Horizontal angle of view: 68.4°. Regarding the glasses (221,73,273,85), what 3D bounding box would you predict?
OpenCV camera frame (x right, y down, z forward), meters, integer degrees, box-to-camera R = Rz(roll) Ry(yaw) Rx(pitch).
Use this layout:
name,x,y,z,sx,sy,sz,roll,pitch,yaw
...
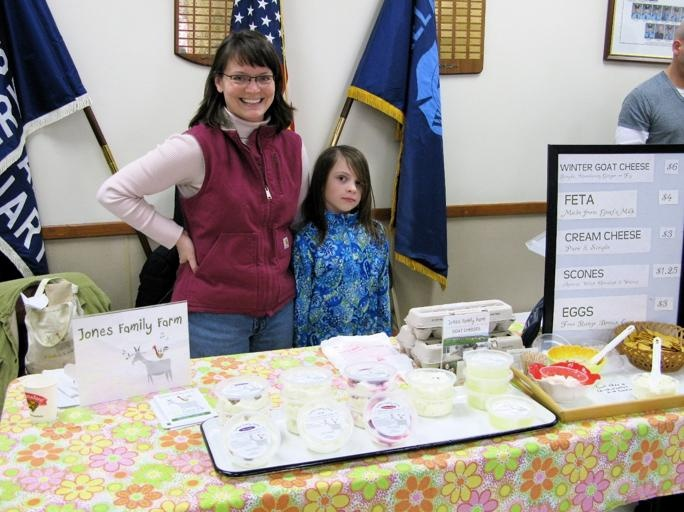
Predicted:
name,x,y,z,sx,sy,sz,roll,pitch,yaw
glasses,-0.366,-0.701,1.988,0.185,0.052,0.059,-9,18,-15

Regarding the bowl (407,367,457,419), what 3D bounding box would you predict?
name,x,y,z,sx,sy,sz,roll,pitch,yaw
bowl,0.233,0.347,1.320,0.108,0.080,0.113,-1,16,0

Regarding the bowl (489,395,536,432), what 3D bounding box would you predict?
name,x,y,z,sx,sy,sz,roll,pitch,yaw
bowl,0.431,0.412,1.287,0.118,0.044,0.114,2,-3,0

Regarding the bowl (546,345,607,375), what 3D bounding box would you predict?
name,x,y,z,sx,sy,sz,roll,pitch,yaw
bowl,0.694,0.292,1.499,0.100,0.038,0.104,-4,17,1

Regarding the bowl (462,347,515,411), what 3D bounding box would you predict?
name,x,y,z,sx,sy,sz,roll,pitch,yaw
bowl,0.377,0.320,1.363,0.132,0.113,0.134,-1,16,0

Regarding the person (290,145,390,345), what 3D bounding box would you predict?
name,x,y,z,sx,sy,sz,roll,pitch,yaw
person,0.012,0.068,2.380,0.438,1.227,0.253,-4,27,-8

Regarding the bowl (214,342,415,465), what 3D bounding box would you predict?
name,x,y,z,sx,sy,sz,roll,pitch,yaw
bowl,-0.067,0.436,1.388,0.340,0.096,0.231,-16,31,-23

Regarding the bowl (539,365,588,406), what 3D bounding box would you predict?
name,x,y,z,sx,sy,sz,roll,pitch,yaw
bowl,0.613,0.351,1.387,0.136,0.074,0.137,5,11,-1

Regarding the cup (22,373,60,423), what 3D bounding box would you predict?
name,x,y,z,sx,sy,sz,roll,pitch,yaw
cup,-0.792,0.378,1.331,0.094,0.107,0.093,4,5,0
